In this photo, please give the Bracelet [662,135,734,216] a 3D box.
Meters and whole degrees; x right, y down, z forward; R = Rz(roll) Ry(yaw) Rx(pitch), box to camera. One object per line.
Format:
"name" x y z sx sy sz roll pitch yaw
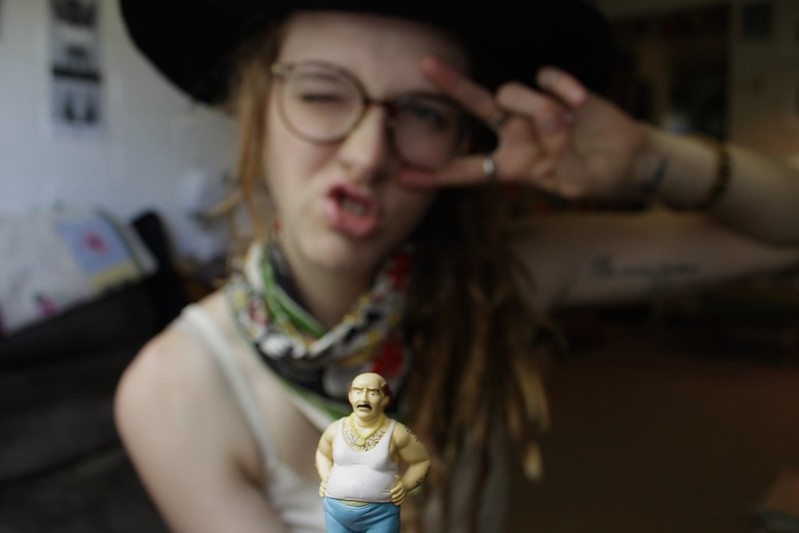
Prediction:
"Bracelet" 1.205 -0.368 2.992 0.218 0.246 0.055 -25 3 7
